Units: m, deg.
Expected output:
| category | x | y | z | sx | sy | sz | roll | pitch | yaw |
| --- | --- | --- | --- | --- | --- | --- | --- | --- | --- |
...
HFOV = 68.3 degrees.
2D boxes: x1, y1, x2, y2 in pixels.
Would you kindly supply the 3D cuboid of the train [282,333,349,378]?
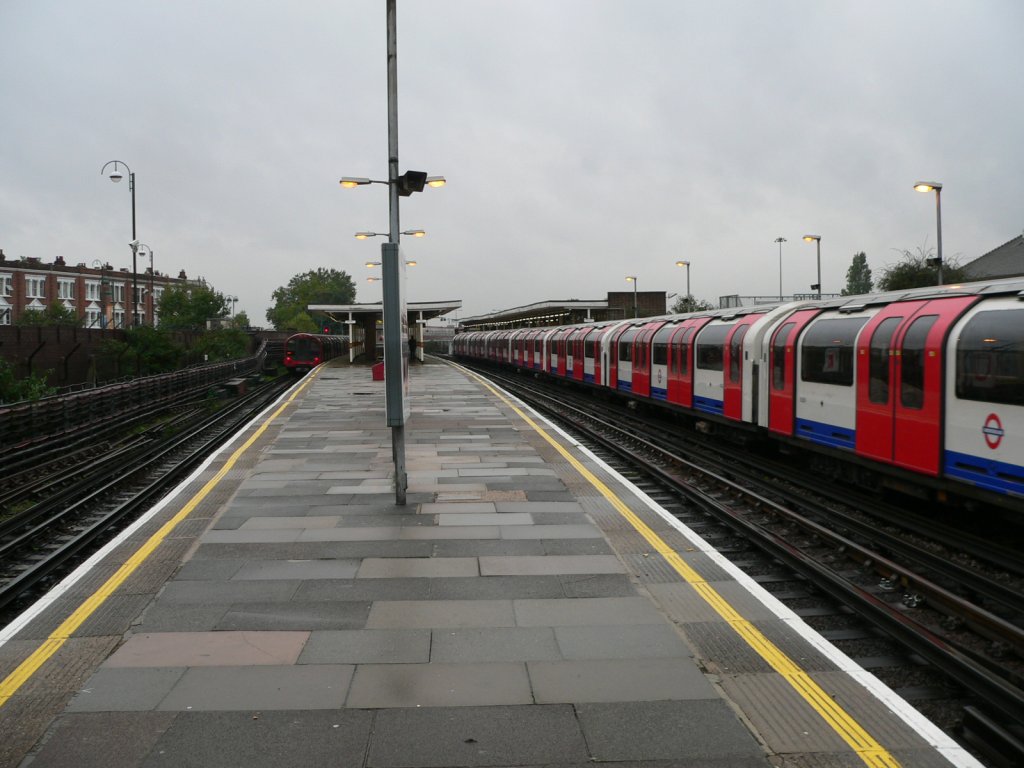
| category | x | y | z | sx | sy | sz | roll | pitch | yaw |
| --- | --- | --- | --- | --- | --- | --- | --- | --- | --- |
| train | -15.084 | -2.497 | 59.309 | 2.916 | 3.032 | 14.056 | 0 | 4 | 0 |
